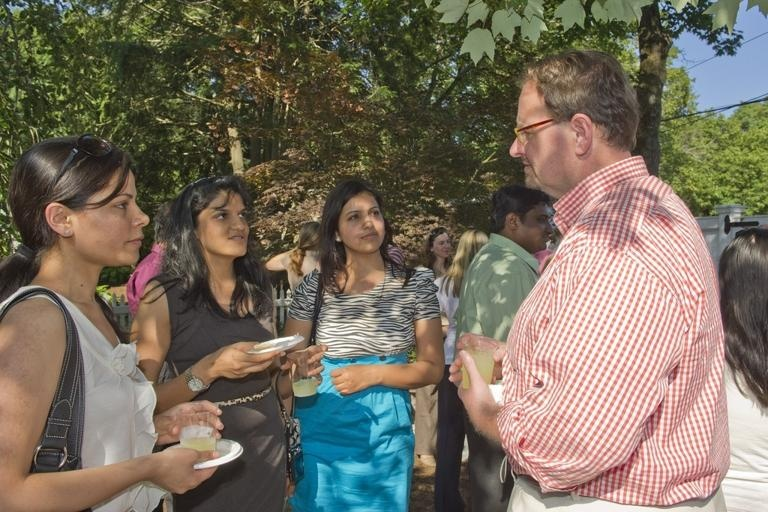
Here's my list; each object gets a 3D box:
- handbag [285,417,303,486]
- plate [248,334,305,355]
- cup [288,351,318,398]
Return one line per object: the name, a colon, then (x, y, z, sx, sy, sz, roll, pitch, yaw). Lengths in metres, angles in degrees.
handbag: (-0.557, 1.222, 4.183, 0.118, 0.318, 0.248, -5, -9, -4)
plate: (-0.560, 0.485, 3.666, 0.328, 0.089, 0.216, -5, -5, 15)
cup: (-0.519, 0.754, 4.290, 0.196, 0.291, 0.299, 1, 1, -13)
